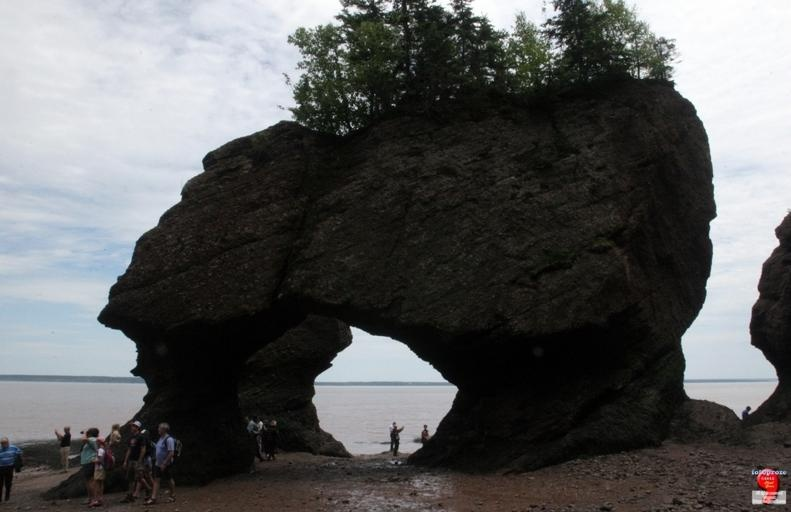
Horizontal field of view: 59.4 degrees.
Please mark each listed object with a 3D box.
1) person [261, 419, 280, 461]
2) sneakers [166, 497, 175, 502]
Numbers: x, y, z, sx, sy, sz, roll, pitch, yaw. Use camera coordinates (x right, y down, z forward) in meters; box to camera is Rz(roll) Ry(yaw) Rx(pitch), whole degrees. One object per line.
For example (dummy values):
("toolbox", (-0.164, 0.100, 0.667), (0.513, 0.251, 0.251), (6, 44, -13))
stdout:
("person", (-7.865, 11.892, 44.600), (0.822, 2.648, 1.530), (-3, -6, 5))
("sneakers", (-10.675, 11.457, 32.824), (0.162, 0.187, 0.476), (10, -9, -44))
